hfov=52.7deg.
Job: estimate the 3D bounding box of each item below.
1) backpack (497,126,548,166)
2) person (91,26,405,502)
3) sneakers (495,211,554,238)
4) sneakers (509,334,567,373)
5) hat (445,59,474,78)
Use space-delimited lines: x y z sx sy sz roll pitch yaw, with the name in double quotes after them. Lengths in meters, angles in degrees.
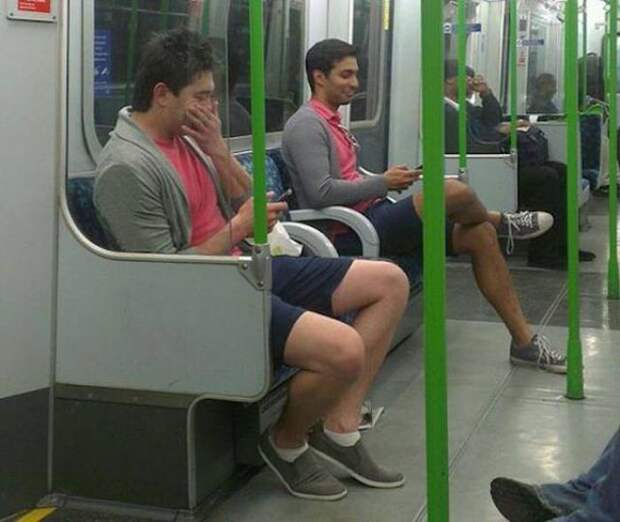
1.750 -0.953 5.125 0.425 0.350 0.466 4 19 17 "backpack"
-0.134 0.057 1.920 0.973 1.438 0.404 -4 10 -22 "person"
1.752 -0.300 5.057 0.387 0.202 0.158 -3 -22 40 "sneakers"
1.150 0.462 3.182 0.274 0.140 0.131 4 7 29 "sneakers"
0.966 -1.240 4.049 0.153 0.170 0.128 -4 15 8 "hat"
